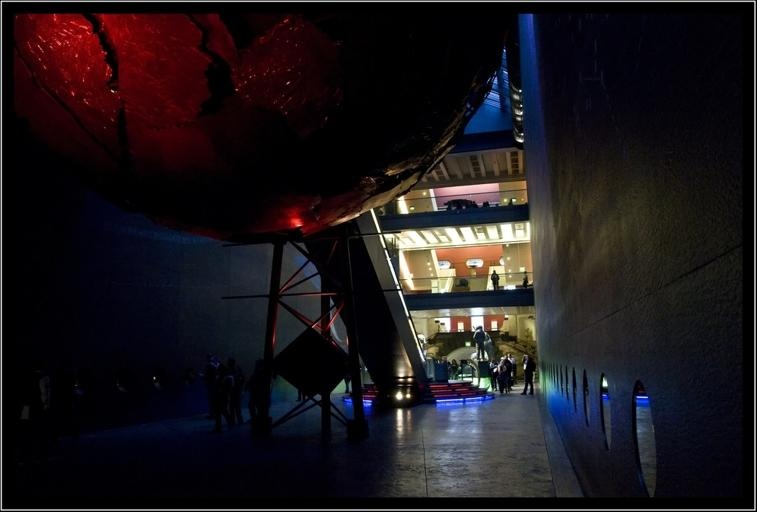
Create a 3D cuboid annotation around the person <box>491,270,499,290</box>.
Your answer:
[{"bbox_3d":[6.324,1.281,27.163,0.443,0.989,0.679,-9,-14,33],"label":"person"}]

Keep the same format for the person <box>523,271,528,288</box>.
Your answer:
[{"bbox_3d":[7.880,1.274,26.792,0.330,0.788,0.980,-5,-12,15],"label":"person"}]
